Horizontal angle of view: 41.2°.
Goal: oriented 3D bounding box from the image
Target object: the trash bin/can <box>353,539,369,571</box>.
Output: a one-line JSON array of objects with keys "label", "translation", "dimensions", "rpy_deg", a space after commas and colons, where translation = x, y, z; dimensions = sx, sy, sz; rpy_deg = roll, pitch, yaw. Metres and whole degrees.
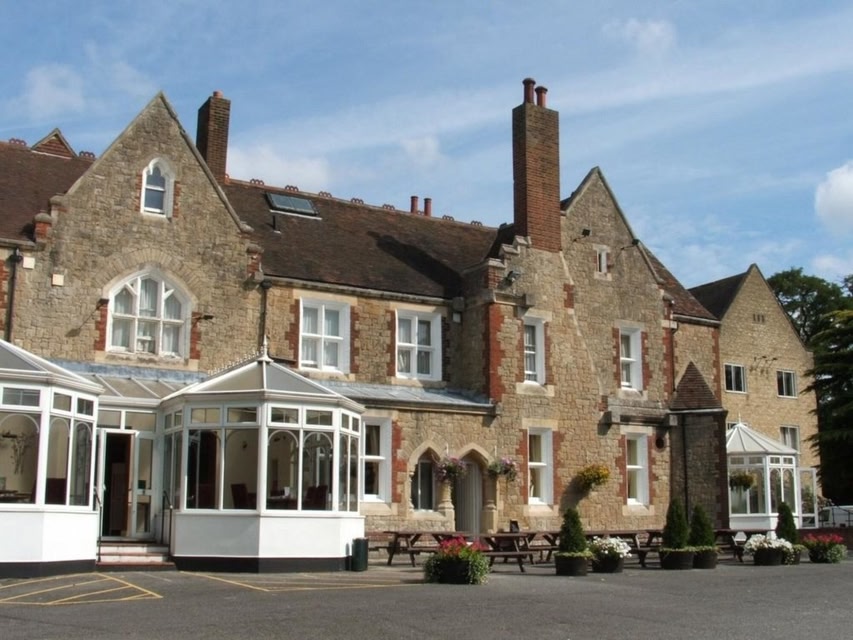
[{"label": "trash bin/can", "translation": [-1.695, 5.906, 28.631], "dimensions": [0.383, 0.822, 0.304], "rpy_deg": [3, -14, -15]}]

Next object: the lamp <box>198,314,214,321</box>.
[{"label": "lamp", "translation": [-6.289, -0.122, 32.410], "dimensions": [0.314, 0.173, 0.073], "rpy_deg": [1, 6, -38]}]

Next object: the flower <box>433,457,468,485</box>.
[{"label": "flower", "translation": [0.680, 4.379, 33.945], "dimensions": [0.725, 0.570, 0.764], "rpy_deg": [-1, 15, -1]}]

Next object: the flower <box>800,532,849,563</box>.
[{"label": "flower", "translation": [11.729, 6.757, 33.631], "dimensions": [1.189, 0.999, 1.292], "rpy_deg": [-5, -8, 35]}]

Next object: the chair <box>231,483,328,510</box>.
[{"label": "chair", "translation": [-3.578, 4.356, 28.071], "dimensions": [2.425, 0.638, 0.370], "rpy_deg": [2, -14, -12]}]

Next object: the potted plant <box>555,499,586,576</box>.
[{"label": "potted plant", "translation": [3.686, 5.657, 28.967], "dimensions": [0.856, 1.677, 0.764], "rpy_deg": [-3, -14, 7]}]

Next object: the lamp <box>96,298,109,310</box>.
[{"label": "lamp", "translation": [-8.922, -0.510, 31.134], "dimensions": [0.264, 0.282, 0.248], "rpy_deg": [8, -41, -16]}]

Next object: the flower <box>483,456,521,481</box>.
[{"label": "flower", "translation": [2.336, 4.518, 34.721], "dimensions": [1.078, 0.689, 0.471], "rpy_deg": [3, -14, -14]}]

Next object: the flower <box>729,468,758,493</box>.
[{"label": "flower", "translation": [10.711, 5.403, 38.434], "dimensions": [0.673, 0.617, 0.694], "rpy_deg": [-7, 8, -18]}]

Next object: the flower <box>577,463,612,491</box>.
[{"label": "flower", "translation": [5.300, 4.963, 36.220], "dimensions": [0.959, 0.924, 0.615], "rpy_deg": [6, -15, -25]}]

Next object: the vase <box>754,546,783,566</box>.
[{"label": "vase", "translation": [9.775, 6.719, 32.298], "dimensions": [0.922, 0.497, 0.438], "rpy_deg": [5, -15, -21]}]

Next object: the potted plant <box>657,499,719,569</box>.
[{"label": "potted plant", "translation": [7.508, 6.128, 32.402], "dimensions": [1.886, 2.055, 1.089], "rpy_deg": [11, -22, -35]}]
